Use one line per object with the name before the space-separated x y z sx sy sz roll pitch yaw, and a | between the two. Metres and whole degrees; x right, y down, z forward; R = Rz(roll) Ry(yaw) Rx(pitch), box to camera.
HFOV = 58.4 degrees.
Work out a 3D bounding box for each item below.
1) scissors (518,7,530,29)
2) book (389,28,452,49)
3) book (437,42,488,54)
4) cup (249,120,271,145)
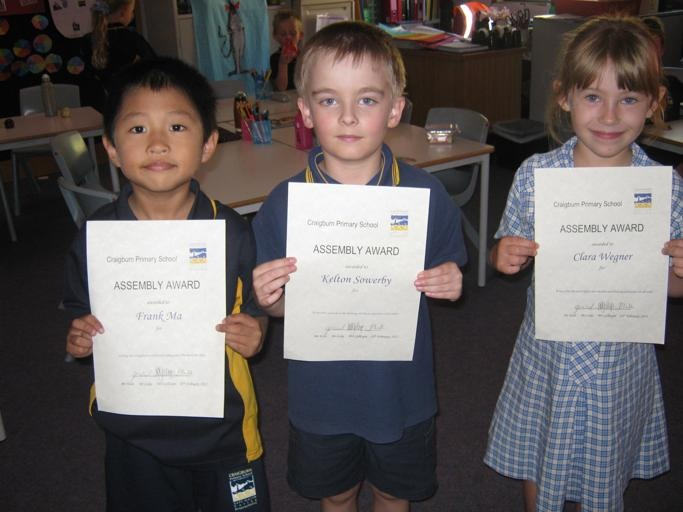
scissors | 1.876 -2.448 6.314 0.154 0.196 0.047 0 6 -7
book | 0.806 -2.199 6.206 0.386 0.097 0.380 -20 33 -33
book | 1.165 -1.955 5.748 0.250 0.062 0.263 -19 31 -36
cup | -0.474 -0.743 3.669 0.132 0.137 0.124 -3 22 1
